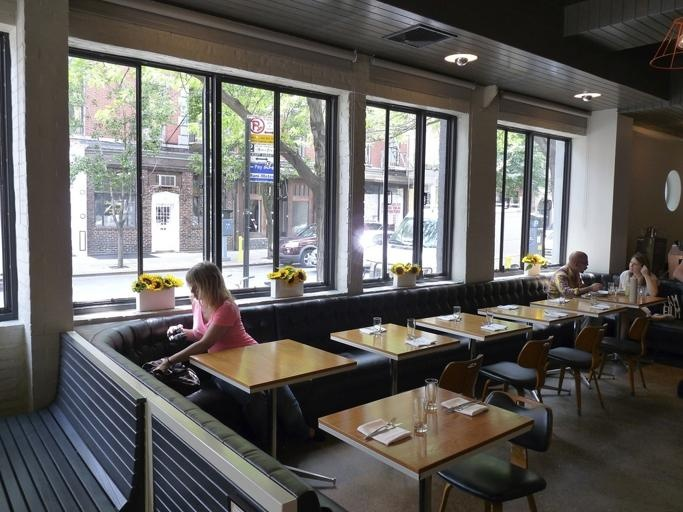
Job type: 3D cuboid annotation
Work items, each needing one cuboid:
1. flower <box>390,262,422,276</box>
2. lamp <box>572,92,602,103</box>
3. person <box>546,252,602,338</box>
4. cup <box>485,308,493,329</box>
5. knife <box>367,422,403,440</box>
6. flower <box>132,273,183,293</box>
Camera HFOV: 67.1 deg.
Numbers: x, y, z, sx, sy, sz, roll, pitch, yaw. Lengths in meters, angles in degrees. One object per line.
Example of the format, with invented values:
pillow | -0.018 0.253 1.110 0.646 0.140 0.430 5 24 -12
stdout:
flower | 0.745 0.152 6.372 0.255 0.122 0.172 -2 4 -19
lamp | 3.422 -2.213 7.186 0.275 0.110 0.282 3 3 34
person | 3.009 0.554 6.660 0.506 1.190 0.660 -13 18 -35
cup | 1.427 0.608 4.980 0.108 0.184 0.114 0 3 0
knife | 0.224 0.990 2.930 0.057 0.023 0.197 12 12 42
flower | -1.693 0.231 4.698 0.236 0.099 0.221 12 13 -12
